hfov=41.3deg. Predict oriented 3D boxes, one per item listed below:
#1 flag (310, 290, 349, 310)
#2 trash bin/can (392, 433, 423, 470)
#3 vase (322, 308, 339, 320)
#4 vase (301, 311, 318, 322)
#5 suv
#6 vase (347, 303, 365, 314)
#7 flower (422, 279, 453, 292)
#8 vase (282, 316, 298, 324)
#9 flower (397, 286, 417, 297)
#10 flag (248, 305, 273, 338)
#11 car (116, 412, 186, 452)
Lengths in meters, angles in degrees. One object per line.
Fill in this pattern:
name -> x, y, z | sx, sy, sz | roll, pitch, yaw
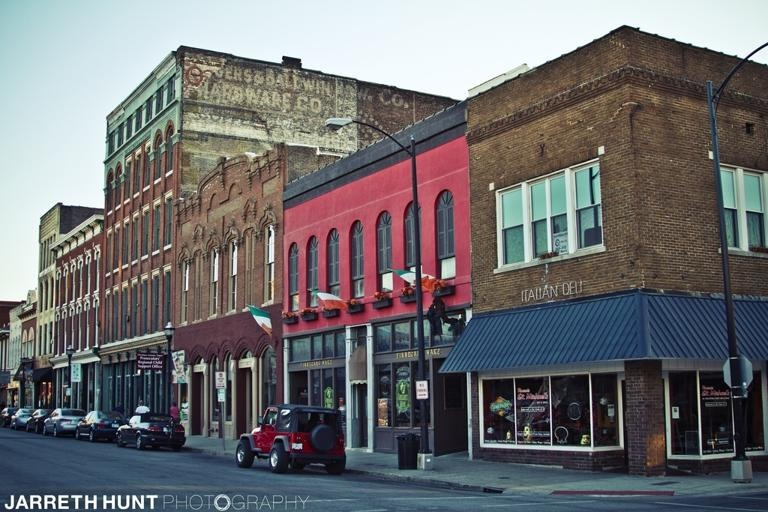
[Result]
flag -> -2.474, 2.046, 47.245 | 1.126, 0.313, 0.896 | 14, -22, 39
trash bin/can -> 0.906, 7.377, 38.245 | 0.822, 1.415, 0.785 | -2, -17, 2
vase -> -2.471, 2.677, 47.399 | 0.764, 0.505, 0.396 | -1, -3, 44
vase -> -3.586, 2.879, 48.908 | 0.465, 0.427, 1.407 | 0, -6, -45
suv -> -3.860, 7.101, 38.696 | 4.689, 2.601, 2.045 | -14, -21, 35
vase -> -1.267, 2.337, 46.009 | 0.801, 0.420, 0.393 | -1, -12, 34
flower -> 2.075, 1.185, 41.899 | 0.713, 0.310, 0.703 | 6, -9, -34
vase -> -4.641, 3.163, 50.283 | 0.342, 0.411, 1.028 | 11, -22, -35
flower -> 1.012, 1.550, 43.216 | 0.479, 0.257, 0.497 | 1, -24, 5
flag -> -6.313, 3.373, 52.219 | 0.227, 1.750, 1.628 | -21, -18, 31
car -> -11.212, 8.560, 49.286 | 3.164, 1.845, 1.899 | -18, -24, 42
